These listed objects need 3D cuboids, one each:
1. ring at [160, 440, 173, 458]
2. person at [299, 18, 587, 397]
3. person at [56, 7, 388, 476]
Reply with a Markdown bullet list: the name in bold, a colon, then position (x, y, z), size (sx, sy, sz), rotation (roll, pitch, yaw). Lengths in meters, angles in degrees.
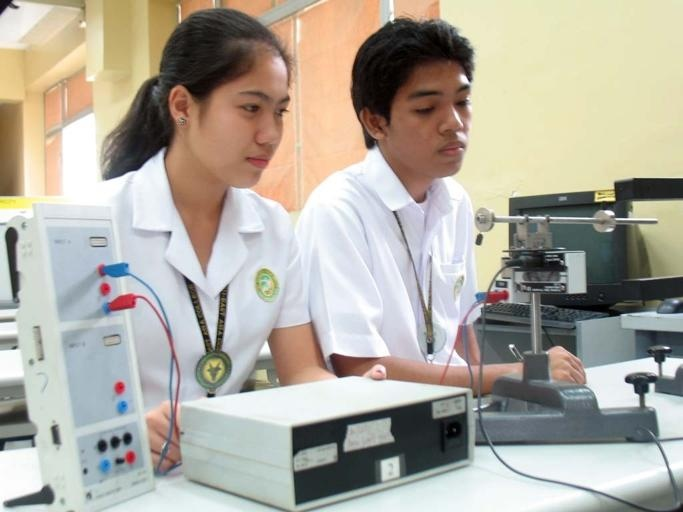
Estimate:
- **ring**: position (-0.309, 0.339, 1.039), size (0.010, 0.033, 0.008), rotation (24, -5, -27)
- **person**: position (0.334, -0.122, 2.222), size (0.899, 1.473, 0.947), rotation (2, -7, -39)
- **person**: position (-0.311, -0.122, 1.990), size (0.927, 1.332, 0.784), rotation (-1, 2, 31)
